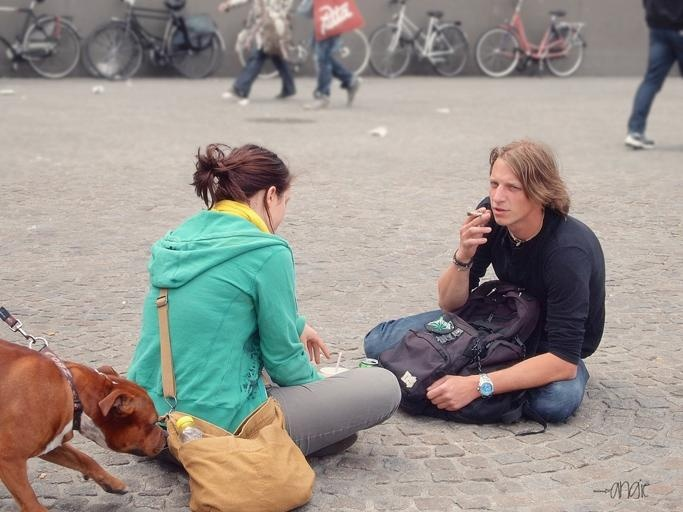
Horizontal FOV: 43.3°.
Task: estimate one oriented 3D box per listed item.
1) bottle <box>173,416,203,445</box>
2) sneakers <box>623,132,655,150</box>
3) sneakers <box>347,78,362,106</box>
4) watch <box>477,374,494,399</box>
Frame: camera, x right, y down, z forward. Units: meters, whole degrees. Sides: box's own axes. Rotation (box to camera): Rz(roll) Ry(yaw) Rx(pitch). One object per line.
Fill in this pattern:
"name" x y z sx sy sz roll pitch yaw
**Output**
"bottle" -0.704 0.812 3.963 0.081 0.072 0.116 -25 59 -23
"sneakers" 3.682 -1.423 10.722 0.480 0.175 0.160 -3 20 -34
"sneakers" 0.161 -2.567 13.521 0.226 0.513 0.168 17 59 2
"watch" 0.773 0.709 4.690 0.089 0.107 0.114 -3 -8 2
